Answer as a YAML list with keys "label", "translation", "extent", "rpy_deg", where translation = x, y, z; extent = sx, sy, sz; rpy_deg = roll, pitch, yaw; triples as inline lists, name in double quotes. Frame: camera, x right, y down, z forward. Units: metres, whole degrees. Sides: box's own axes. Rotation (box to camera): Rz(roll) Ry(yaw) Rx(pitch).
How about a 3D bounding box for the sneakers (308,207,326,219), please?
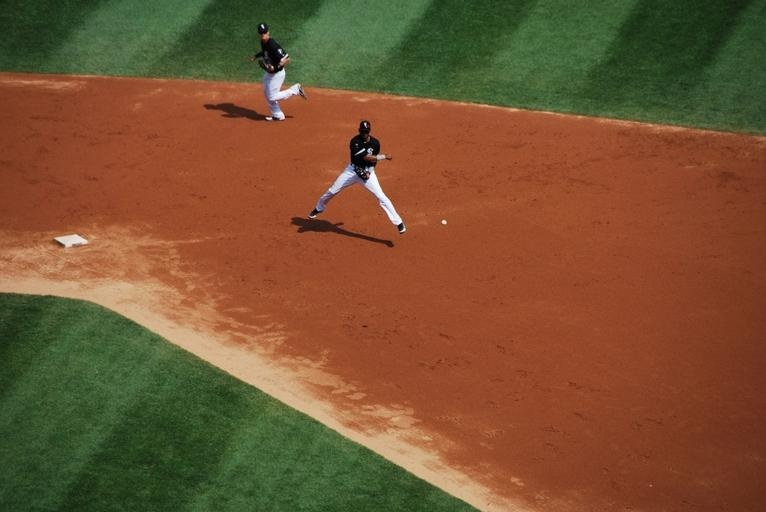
- label: "sneakers"
  translation: [-1.608, -1.014, 21.061]
  extent: [0.450, 0.180, 0.192]
  rpy_deg: [-25, -5, 11]

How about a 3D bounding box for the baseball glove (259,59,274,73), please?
- label: "baseball glove"
  translation: [-2.963, -4.837, 22.549]
  extent: [0.468, 0.336, 0.489]
  rpy_deg: [4, 6, -25]

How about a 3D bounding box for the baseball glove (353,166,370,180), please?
- label: "baseball glove"
  translation: [-0.476, -1.912, 20.217]
  extent: [0.327, 0.241, 0.141]
  rpy_deg: [27, 94, 61]

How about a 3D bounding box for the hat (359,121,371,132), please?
- label: "hat"
  translation: [-0.403, -2.947, 20.016]
  extent: [0.243, 0.224, 0.368]
  rpy_deg: [5, 23, -11]
